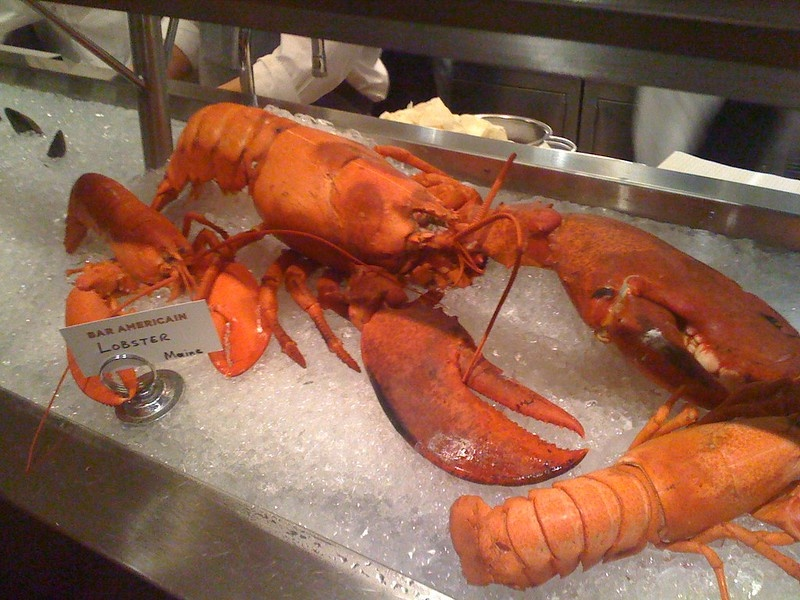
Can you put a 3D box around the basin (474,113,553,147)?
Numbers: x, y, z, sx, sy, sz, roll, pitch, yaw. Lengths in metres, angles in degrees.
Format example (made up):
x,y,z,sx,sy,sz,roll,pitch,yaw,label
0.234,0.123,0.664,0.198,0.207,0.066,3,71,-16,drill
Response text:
x,y,z,sx,sy,sz,roll,pitch,yaw,label
0.437,-0.635,2.359,0.313,0.044,0.201,-13,39,-29,basin

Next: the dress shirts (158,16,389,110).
x,y,z,sx,sy,sz,roll,pitch,yaw,label
-0.425,-0.973,2.726,0.934,0.294,0.565,2,66,1,dress shirts

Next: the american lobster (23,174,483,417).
x,y,z,sx,sy,sz,roll,pitch,yaw,label
-0.570,-0.058,1.529,0.478,0.155,0.579,-24,52,-14,american lobster
